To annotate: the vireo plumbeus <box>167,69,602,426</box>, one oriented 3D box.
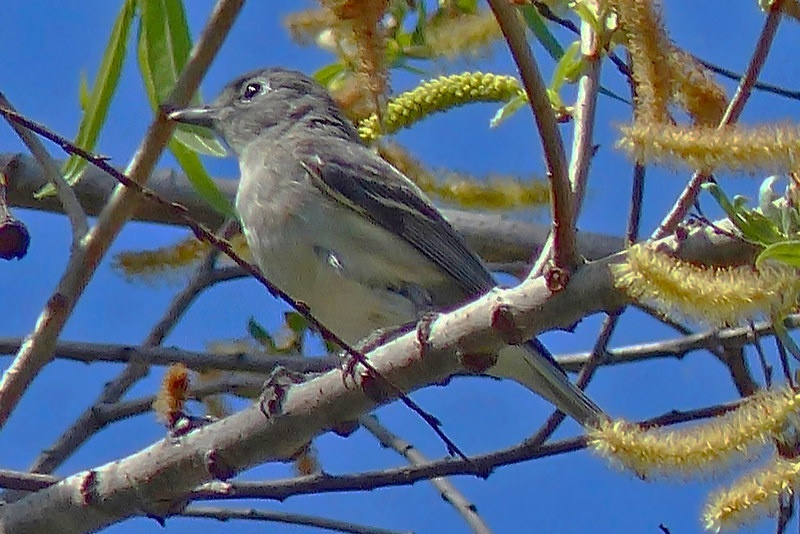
[{"bbox_3d":[0.036,-0.074,5.725,1.850,1.329,0.682,8,-34,-15],"label":"vireo plumbeus"}]
